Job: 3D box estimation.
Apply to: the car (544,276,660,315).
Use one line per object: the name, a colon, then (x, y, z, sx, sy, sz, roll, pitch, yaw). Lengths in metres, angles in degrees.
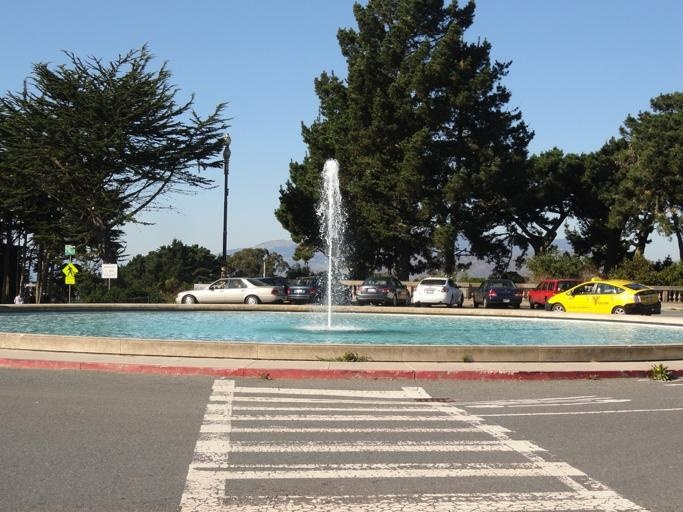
car: (11.208, 1.838, 33.051, 2.271, 1.441, 6.202, 4, -3, -31)

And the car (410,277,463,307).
car: (5.213, 1.903, 39.354, 1.867, 1.625, 2.488, 1, -3, 34)

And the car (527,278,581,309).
car: (11.449, 2.081, 40.354, 1.574, 1.299, 2.794, -1, 6, -16)

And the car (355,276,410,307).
car: (2.235, 1.871, 39.099, 1.604, 1.567, 3.253, 1, -3, 30)

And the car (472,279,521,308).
car: (8.377, 2.030, 39.249, 1.214, 0.999, 2.986, 0, 2, -3)

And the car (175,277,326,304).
car: (-5.295, 1.935, 39.855, 7.122, 1.542, 2.432, 3, -3, -6)
